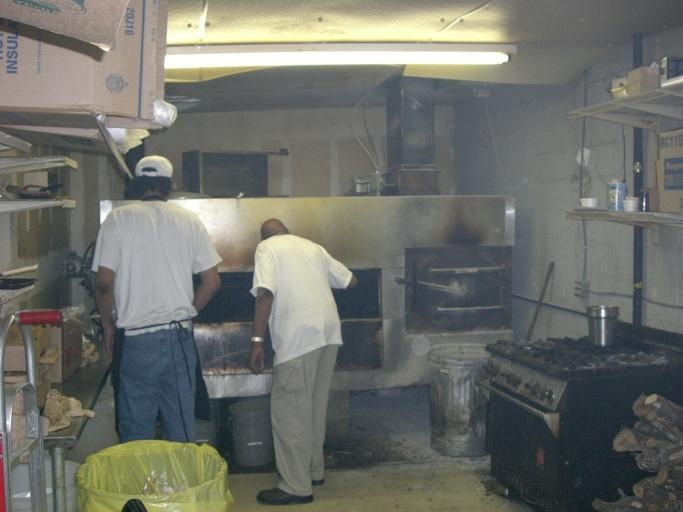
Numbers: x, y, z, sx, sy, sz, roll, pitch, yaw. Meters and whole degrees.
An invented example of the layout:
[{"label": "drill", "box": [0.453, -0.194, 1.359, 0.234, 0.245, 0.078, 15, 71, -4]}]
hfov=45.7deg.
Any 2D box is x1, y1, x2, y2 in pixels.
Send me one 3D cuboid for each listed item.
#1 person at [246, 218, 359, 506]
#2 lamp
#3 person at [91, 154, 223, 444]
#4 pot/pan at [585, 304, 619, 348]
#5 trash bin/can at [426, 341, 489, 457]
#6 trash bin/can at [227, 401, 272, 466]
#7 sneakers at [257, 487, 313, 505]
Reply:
[{"label": "person", "box": [-0.285, 0.684, 5.046, 0.567, 1.593, 0.472, -3, 8, -6]}, {"label": "lamp", "box": [-0.018, -1.350, 5.424, 2.302, 0.144, 0.272, -2, 8, -4]}, {"label": "person", "box": [-1.003, 0.241, 4.548, 0.672, 1.581, 0.478, -7, 10, -32]}, {"label": "pot/pan", "box": [1.560, 0.407, 4.847, 0.224, 0.256, 0.222, -1, 2, -39]}, {"label": "trash bin/can", "box": [0.811, 0.984, 5.888, 0.596, 0.908, 0.652, 0, 3, 13]}, {"label": "trash bin/can", "box": [-0.611, 1.217, 5.706, 0.388, 0.396, 0.384, -1, -1, -7]}, {"label": "sneakers", "box": [-0.347, 1.468, 4.996, 0.287, 0.117, 0.128, 4, -4, 0]}]
